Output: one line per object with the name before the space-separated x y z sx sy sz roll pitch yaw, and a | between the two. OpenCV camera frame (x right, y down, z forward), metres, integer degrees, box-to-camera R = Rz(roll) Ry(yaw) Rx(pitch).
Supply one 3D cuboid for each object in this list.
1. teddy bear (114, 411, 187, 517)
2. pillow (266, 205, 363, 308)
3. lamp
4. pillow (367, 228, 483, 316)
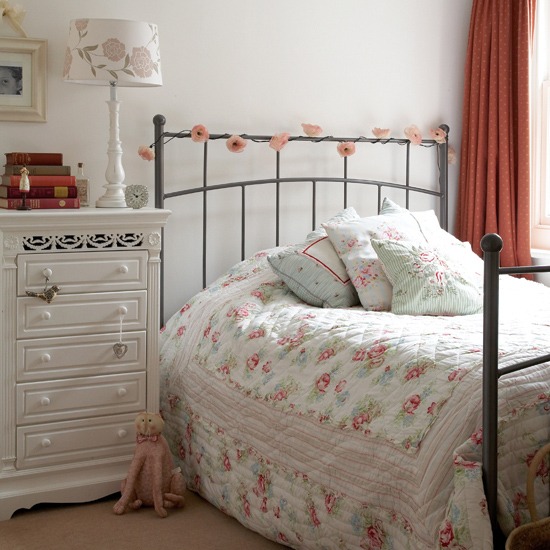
teddy bear | -0.425 0.622 1.779 0.279 0.290 0.218 2 -12 -27
pillow | 0.190 -0.055 2.039 0.346 0.093 0.333 28 48 24
lamp | -0.602 -0.615 2.024 0.344 0.737 0.353 -1 3 -16
pillow | 0.509 0.029 1.891 0.357 0.289 0.096 5 -38 -25
